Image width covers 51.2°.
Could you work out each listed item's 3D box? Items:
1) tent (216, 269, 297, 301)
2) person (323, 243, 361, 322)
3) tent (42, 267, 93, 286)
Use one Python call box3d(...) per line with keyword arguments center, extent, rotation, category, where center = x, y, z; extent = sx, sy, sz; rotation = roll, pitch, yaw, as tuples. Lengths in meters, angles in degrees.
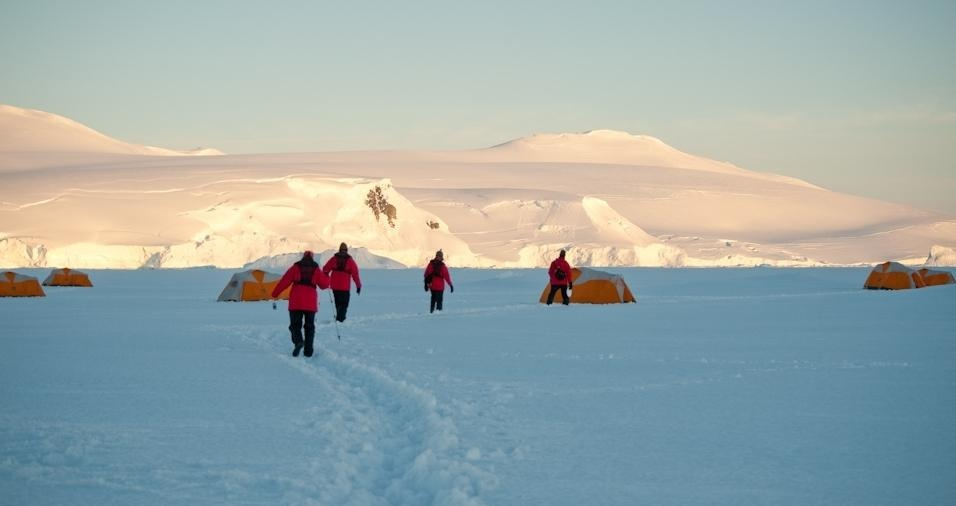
box3d(center=(-9.945, 1.541, 43.790), extent=(2.649, 0.865, 2.477), rotation=(3, -4, -36), category="tent")
box3d(center=(-4.391, 0.876, 31.892), extent=(1.348, 2.669, 1.573), rotation=(0, 0, -11), category="person")
box3d(center=(-24.043, 1.445, 58.248), extent=(2.348, 1.029, 3.034), rotation=(-2, 4, -36), category="tent")
